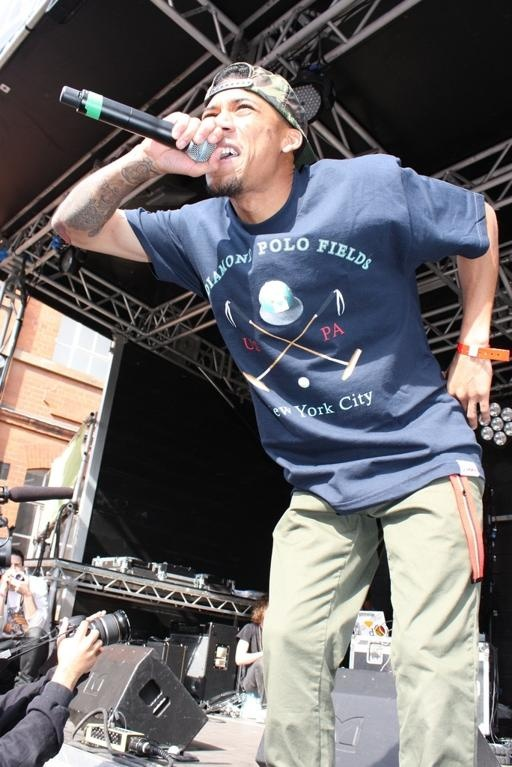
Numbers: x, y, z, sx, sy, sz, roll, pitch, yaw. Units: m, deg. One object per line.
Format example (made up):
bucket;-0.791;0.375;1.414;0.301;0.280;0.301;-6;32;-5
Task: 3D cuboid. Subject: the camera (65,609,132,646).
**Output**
camera;-0.436;0.686;1.658;0.173;0.080;0.102;-5;-39;-45
